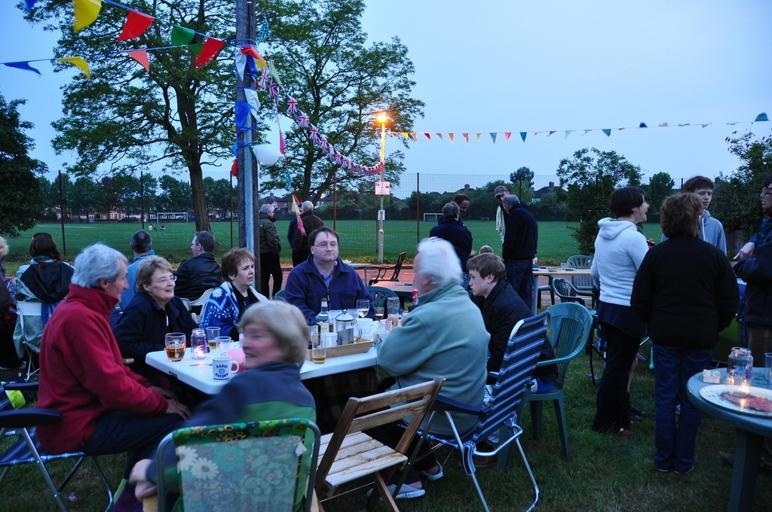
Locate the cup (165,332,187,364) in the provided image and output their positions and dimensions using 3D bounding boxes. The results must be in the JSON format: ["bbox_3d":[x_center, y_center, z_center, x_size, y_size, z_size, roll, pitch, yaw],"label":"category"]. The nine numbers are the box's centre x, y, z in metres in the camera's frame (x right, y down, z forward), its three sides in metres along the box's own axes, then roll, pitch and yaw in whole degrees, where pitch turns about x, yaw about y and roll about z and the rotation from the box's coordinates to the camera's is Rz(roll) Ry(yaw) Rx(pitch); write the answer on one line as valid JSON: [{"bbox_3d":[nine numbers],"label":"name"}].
[{"bbox_3d":[-1.807,0.775,5.449,0.204,0.249,0.200,-1,4,0],"label":"cup"}]

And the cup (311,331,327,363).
[{"bbox_3d":[-0.571,0.779,5.428,0.129,0.223,0.181,-2,5,-7],"label":"cup"}]

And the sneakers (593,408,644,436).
[{"bbox_3d":[2.373,1.707,6.546,0.503,0.222,0.155,-12,12,-29],"label":"sneakers"}]

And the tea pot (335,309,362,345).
[{"bbox_3d":[-0.337,0.651,5.772,0.160,0.293,0.276,-2,7,-29],"label":"tea pot"}]

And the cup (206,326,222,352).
[{"bbox_3d":[-1.550,0.728,5.719,0.167,0.239,0.178,-2,-2,0],"label":"cup"}]

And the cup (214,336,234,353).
[{"bbox_3d":[-1.461,0.789,5.746,0.146,0.118,0.120,-5,-6,42],"label":"cup"}]

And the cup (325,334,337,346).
[{"bbox_3d":[-0.473,0.727,5.528,0.102,0.080,0.085,-1,0,8],"label":"cup"}]

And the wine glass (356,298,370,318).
[{"bbox_3d":[-0.243,0.521,6.478,0.161,0.269,0.159,-2,4,-9],"label":"wine glass"}]

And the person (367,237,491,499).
[{"bbox_3d":[0.407,0.577,5.302,0.873,1.368,0.423,0,5,10],"label":"person"}]
